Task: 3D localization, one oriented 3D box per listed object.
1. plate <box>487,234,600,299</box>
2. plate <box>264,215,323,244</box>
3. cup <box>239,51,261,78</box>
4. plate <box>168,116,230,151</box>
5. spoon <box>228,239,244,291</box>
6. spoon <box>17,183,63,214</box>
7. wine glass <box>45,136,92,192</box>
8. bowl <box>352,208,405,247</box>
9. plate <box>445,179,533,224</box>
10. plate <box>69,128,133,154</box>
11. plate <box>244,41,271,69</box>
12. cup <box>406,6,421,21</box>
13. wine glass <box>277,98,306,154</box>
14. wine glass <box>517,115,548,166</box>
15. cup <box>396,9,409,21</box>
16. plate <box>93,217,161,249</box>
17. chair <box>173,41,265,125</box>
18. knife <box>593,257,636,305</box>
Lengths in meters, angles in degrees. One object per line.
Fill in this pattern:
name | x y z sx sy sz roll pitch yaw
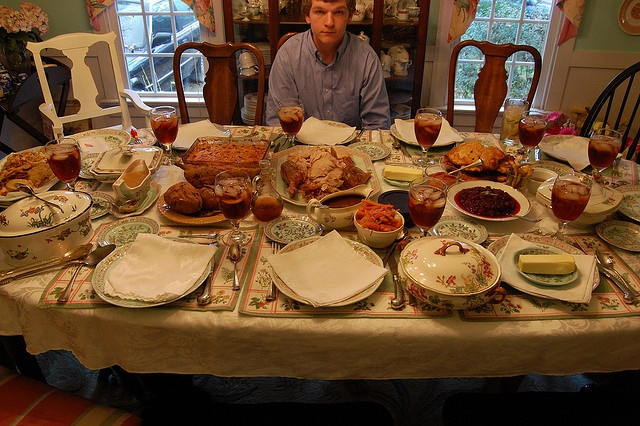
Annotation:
plate | 0.778 0.221 1.504 0.258 0.055 0.266 23 43 28
plate | -0.109 0.064 1.709 0.134 0.022 0.133 -3 37 -9
cup | -0.649 -1.344 3.904 0.247 0.227 0.160 -4 40 -5
plate | -0.683 -0.436 2.366 0.249 0.043 0.178 7 46 9
spoon | -0.303 0.199 1.545 0.051 0.034 0.236 -8 43 -8
spoon | -1.076 -0.052 1.639 0.183 0.031 0.026 37 -1 3
wine glass | -1.071 -0.153 1.828 0.129 0.279 0.122 -19 33 -33
bowl | 0.219 0.079 1.653 0.132 0.074 0.131 -11 12 2
plate | 0.696 -0.078 1.867 0.043 0.224 0.225 10 21 -34
plate | -1.183 -0.389 2.306 0.216 0.031 0.218 4 37 -2
plate | -0.506 -1.449 3.869 0.237 0.214 0.239 21 46 20
cup | 0.805 -1.702 3.667 0.087 0.083 0.109 0 43 5
wine glass | -0.148 -0.433 2.233 0.129 0.257 0.125 0 42 -1
wine glass | 1.017 -0.351 2.069 0.126 0.187 0.110 12 21 21
cup | 0.711 -1.684 3.662 0.099 0.069 0.074 2 46 -7
plate | -0.770 0.080 1.709 0.189 0.188 0.019 -27 61 -28
chair | -0.670 -0.842 2.861 0.598 0.515 0.433 -1 31 -3
knife | 1.044 0.233 1.563 0.055 0.045 0.227 -13 37 0
